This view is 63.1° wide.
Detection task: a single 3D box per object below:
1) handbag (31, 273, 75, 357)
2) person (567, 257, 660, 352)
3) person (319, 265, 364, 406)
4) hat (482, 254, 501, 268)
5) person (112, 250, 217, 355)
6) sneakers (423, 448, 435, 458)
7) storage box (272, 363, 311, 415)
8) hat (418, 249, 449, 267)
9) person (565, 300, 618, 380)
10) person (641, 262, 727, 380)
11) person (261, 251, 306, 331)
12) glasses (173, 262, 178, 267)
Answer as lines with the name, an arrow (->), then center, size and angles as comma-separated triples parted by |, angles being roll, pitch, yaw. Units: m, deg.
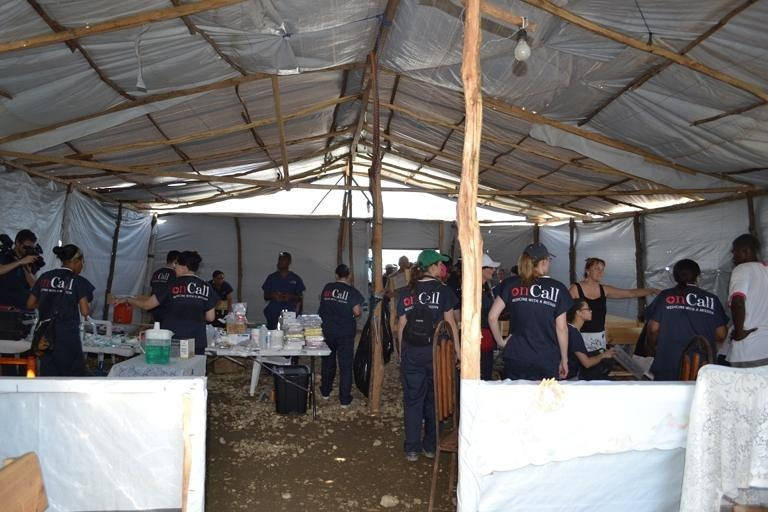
handbag -> -3.598, 0.693, 6.768 | 0.270, 0.700, 0.180 | -11, -28, 15
person -> 3.188, 0.647, 8.504 | 1.355, 1.255, 0.427 | -7, -2, -13
person -> -0.551, 1.037, 8.073 | 0.551, 1.815, 0.650 | 0, 10, -11
hat -> 1.345, 0.078, 8.005 | 0.316, 0.144, 0.197 | -5, 10, 9
person -> -3.069, 0.630, 8.530 | 1.365, 1.656, 0.933 | -8, 26, -44
sneakers -> 0.480, 2.093, 6.681 | 0.087, 0.072, 0.176 | 4, -11, -5
storage box -> -1.123, 1.679, 8.017 | 0.640, 0.586, 0.550 | 0, -4, -7
hat -> 0.544, 0.008, 6.836 | 0.294, 0.136, 0.189 | -9, 8, -18
person -> 2.256, 0.932, 6.861 | 0.422, 0.388, 0.935 | -25, -34, 22
person -> 3.243, 0.941, 6.700 | 0.783, 1.806, 0.635 | 7, 19, 30
person -> -1.588, 0.550, 9.889 | 0.610, 1.191, 0.756 | 0, 9, -10
glasses -> -2.414, 0.093, 7.201 | 0.054, 0.068, 0.059 | 0, -7, -5
